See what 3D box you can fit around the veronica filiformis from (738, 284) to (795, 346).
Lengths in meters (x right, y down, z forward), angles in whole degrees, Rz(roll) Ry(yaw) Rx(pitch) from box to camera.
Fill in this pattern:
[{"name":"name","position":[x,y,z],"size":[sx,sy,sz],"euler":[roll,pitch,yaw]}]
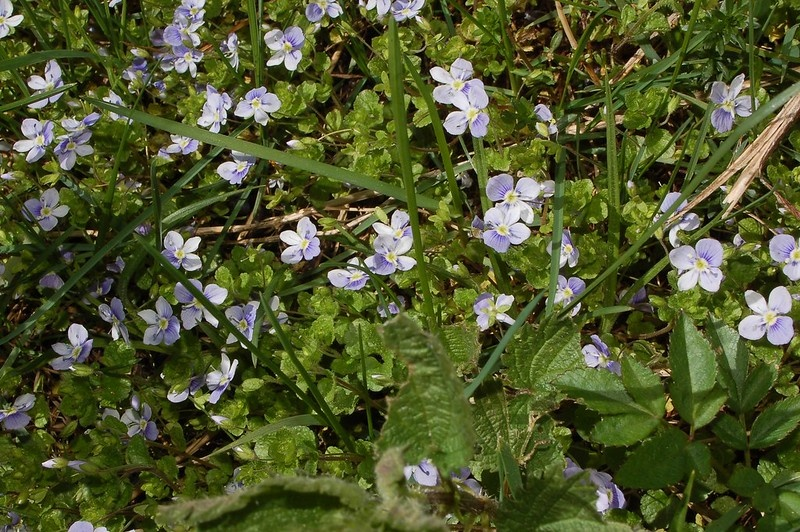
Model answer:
[{"name":"veronica filiformis","position":[1.454,0.182,2.742],"size":[0.188,0.170,0.179],"euler":[17,51,19]}]

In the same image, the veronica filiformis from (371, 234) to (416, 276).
[{"name":"veronica filiformis","position":[-0.039,-0.048,3.062],"size":[0.202,0.133,0.133],"euler":[-9,47,-4]}]

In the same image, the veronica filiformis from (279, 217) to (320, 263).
[{"name":"veronica filiformis","position":[-0.466,-0.111,3.255],"size":[0.181,0.071,0.217],"euler":[7,91,30]}]
